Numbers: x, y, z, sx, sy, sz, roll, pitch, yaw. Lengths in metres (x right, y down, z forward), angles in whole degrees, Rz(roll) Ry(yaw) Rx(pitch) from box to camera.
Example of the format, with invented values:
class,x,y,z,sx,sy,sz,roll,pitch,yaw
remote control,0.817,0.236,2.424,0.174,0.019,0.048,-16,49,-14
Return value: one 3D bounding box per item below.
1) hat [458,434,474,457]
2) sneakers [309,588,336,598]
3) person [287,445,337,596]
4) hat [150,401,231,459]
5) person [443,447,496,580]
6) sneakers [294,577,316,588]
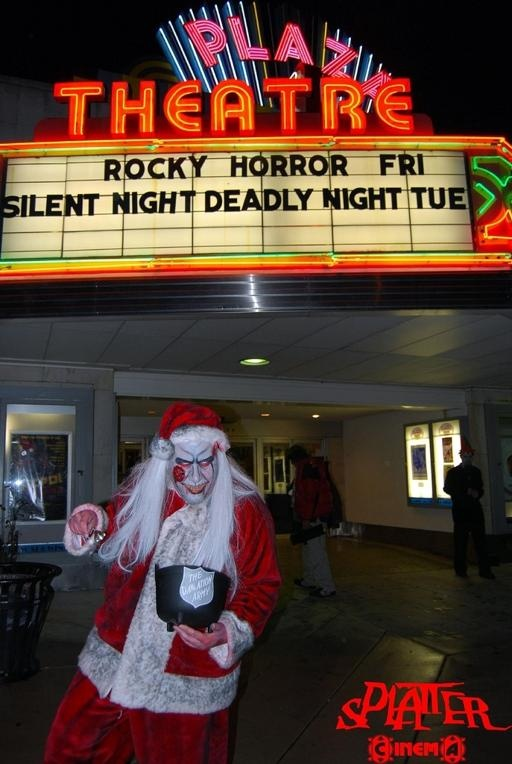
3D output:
class,x,y,z,sx,sy,sz,roll,pitch,yaw
hat,2.886,0.888,7.371,0.327,0.273,0.519,2,-6,19
sneakers,0.712,2.260,5.743,0.217,0.074,0.114,14,-22,-21
person,0.636,1.513,5.968,0.541,1.640,0.685,-1,-11,3
hat,-0.195,0.132,1.532,0.182,0.128,0.138,-2,-2,-24
person,2.706,1.657,6.898,0.476,1.654,0.460,0,-11,-3
sneakers,0.552,2.326,6.191,0.090,0.115,0.265,7,-10,-36
